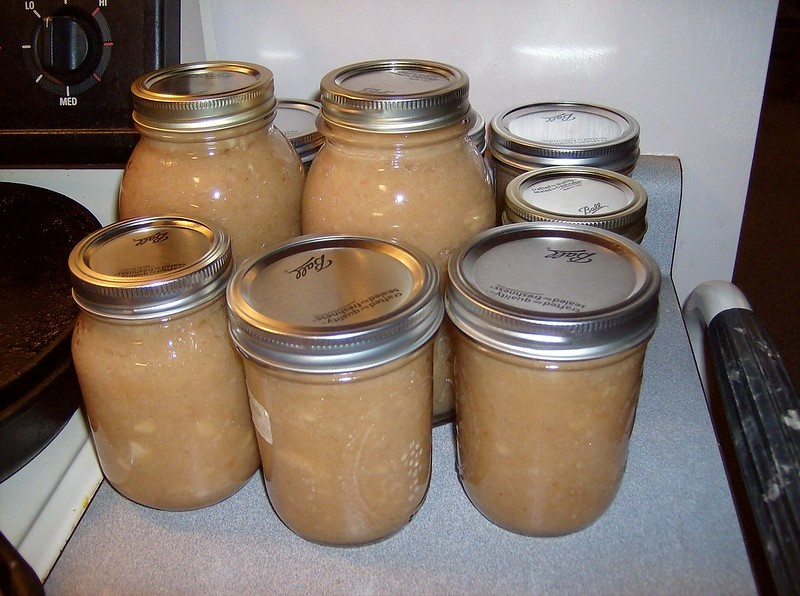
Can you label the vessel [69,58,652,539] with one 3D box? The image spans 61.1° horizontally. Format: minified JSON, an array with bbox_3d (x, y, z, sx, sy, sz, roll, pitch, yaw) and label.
[{"bbox_3d":[-0.003,-0.044,0.646,0.449,0.433,0.256,-18,27,-30],"label":"vessel"}]
